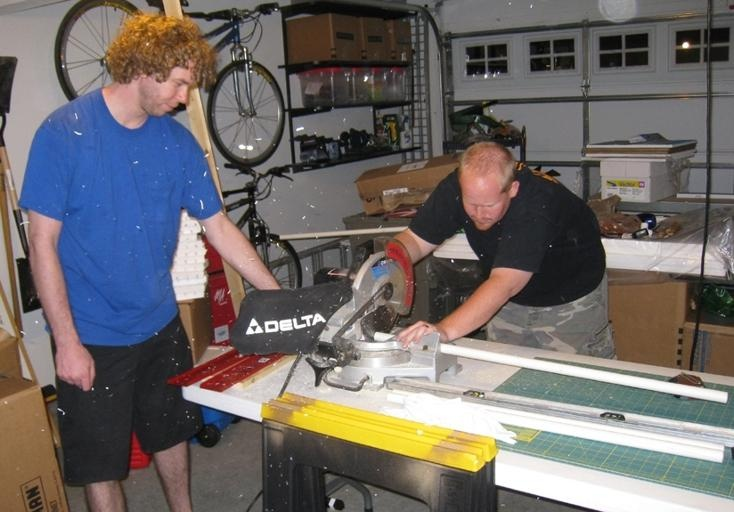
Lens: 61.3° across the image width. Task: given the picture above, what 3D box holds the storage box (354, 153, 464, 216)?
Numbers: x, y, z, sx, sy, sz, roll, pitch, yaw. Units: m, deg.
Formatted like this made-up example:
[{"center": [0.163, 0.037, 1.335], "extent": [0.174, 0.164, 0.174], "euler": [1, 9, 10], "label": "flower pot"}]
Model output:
[{"center": [0.461, -0.674, 5.586], "extent": [0.946, 0.527, 0.722], "euler": [4, 11, 32], "label": "storage box"}]

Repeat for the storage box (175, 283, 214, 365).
[{"center": [-1.016, 0.406, 3.639], "extent": [0.123, 0.429, 0.178], "euler": [4, 7, 3], "label": "storage box"}]

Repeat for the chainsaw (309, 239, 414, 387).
[{"center": [-0.011, 0.193, 2.416], "extent": [0.357, 0.610, 0.352], "euler": [0, 9, -1], "label": "chainsaw"}]
